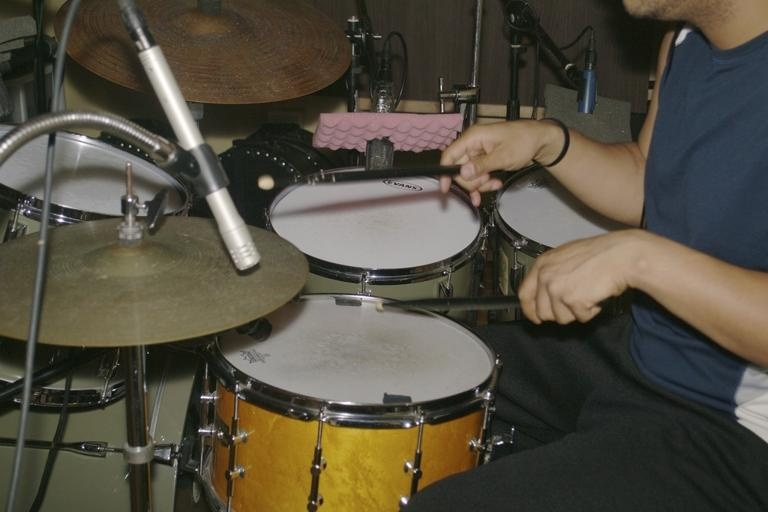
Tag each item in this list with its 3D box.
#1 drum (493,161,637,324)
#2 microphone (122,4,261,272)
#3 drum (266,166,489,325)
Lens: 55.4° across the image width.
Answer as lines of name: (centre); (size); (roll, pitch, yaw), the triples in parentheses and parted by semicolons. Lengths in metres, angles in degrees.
drum: (0.557, -0.034, 2.434); (0.417, 0.437, 0.436); (5, 45, -5)
microphone: (-0.482, -0.306, 1.849); (0.112, 0.814, 0.107); (-28, 12, -25)
drum: (-0.012, -0.057, 2.166); (0.521, 0.182, 0.529); (7, 37, -5)
